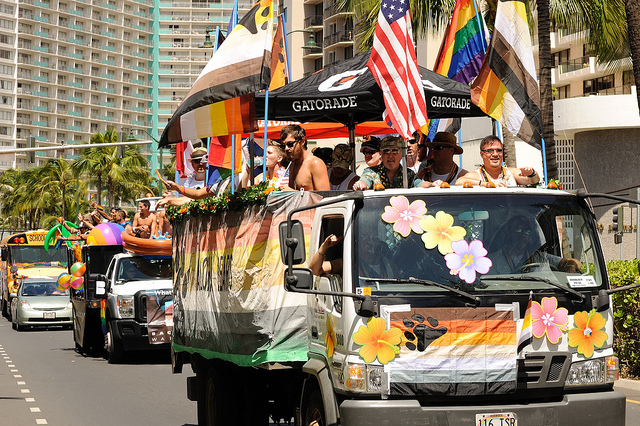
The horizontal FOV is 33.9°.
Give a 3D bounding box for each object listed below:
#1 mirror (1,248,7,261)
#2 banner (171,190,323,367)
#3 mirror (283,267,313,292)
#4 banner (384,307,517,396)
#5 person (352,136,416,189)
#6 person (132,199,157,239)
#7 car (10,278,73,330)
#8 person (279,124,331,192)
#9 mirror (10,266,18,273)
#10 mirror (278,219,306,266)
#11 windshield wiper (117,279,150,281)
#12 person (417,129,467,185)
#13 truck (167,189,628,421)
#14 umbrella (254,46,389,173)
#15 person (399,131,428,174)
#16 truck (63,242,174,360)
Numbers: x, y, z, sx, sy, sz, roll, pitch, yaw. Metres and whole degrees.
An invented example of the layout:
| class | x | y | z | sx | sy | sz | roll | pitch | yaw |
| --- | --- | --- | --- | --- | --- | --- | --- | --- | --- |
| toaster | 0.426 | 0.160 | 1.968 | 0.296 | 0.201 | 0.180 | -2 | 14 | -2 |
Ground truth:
| class | x | y | z | sx | sy | sz | roll | pitch | yaw |
| --- | --- | --- | --- | --- | --- | --- | --- | --- | --- |
| mirror | -12.196 | 1.599 | 40.132 | 0.174 | 0.459 | 1.567 | -2 | -2 | -16 |
| banner | -1.449 | 1.167 | 17.896 | 1.395 | 2.665 | 4.505 | 3 | -6 | -30 |
| mirror | -0.328 | 0.950 | 14.941 | 0.393 | 0.313 | 0.264 | -3 | -2 | 2 |
| banner | 1.862 | 1.970 | 14.764 | 1.839 | 1.255 | 0.072 | -3 | -2 | -6 |
| person | 1.035 | -0.715 | 16.891 | 0.897 | 1.443 | 0.819 | 1 | -3 | 13 |
| person | -4.391 | 0.373 | 26.035 | 0.538 | 1.351 | 0.761 | 0 | 0 | -29 |
| car | -9.827 | 3.180 | 36.608 | 1.501 | 1.262 | 2.650 | 1 | -9 | -18 |
| person | -0.311 | -0.767 | 16.748 | 0.881 | 1.349 | 0.707 | 0 | 5 | 35 |
| mirror | -12.229 | 2.280 | 41.480 | 0.302 | 0.255 | 1.715 | -3 | -2 | -17 |
| mirror | -0.391 | 0.435 | 14.850 | 0.344 | 0.614 | 0.094 | -9 | -8 | 30 |
| windshield wiper | -4.876 | 1.730 | 26.562 | 0.606 | 0.034 | 0.096 | -4 | -2 | -6 |
| person | 2.102 | -0.859 | 18.205 | 0.973 | 1.156 | 0.612 | -4 | -10 | 31 |
| truck | 0.598 | 1.560 | 16.454 | 3.515 | 2.936 | 5.754 | 3 | -9 | -28 |
| umbrella | 0.048 | -2.151 | 19.992 | 2.184 | 2.265 | 2.474 | -4 | 2 | 6 |
| person | 1.676 | -1.057 | 19.030 | 0.528 | 0.939 | 0.418 | -2 | -7 | 21 |
| truck | -5.374 | 2.402 | 27.581 | 2.330 | 2.439 | 4.523 | 1 | -6 | -21 |
